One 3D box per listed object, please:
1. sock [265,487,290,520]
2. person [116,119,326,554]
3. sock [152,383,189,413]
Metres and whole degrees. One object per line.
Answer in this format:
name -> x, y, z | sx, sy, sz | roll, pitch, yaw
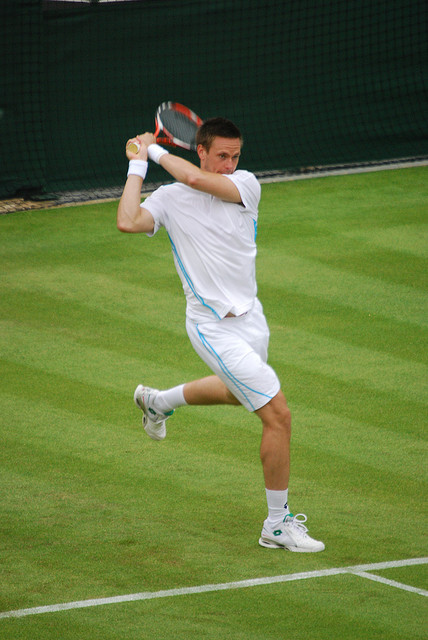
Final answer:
sock -> 0.278, 0.804, 3.380 | 0.134, 0.164, 0.115 | -5, -9, 10
person -> -0.010, -0.027, 3.704 | 0.875, 1.810, 1.321 | 1, 16, -5
sock -> -0.235, 0.418, 4.145 | 0.212, 0.182, 0.059 | 12, 20, 32
